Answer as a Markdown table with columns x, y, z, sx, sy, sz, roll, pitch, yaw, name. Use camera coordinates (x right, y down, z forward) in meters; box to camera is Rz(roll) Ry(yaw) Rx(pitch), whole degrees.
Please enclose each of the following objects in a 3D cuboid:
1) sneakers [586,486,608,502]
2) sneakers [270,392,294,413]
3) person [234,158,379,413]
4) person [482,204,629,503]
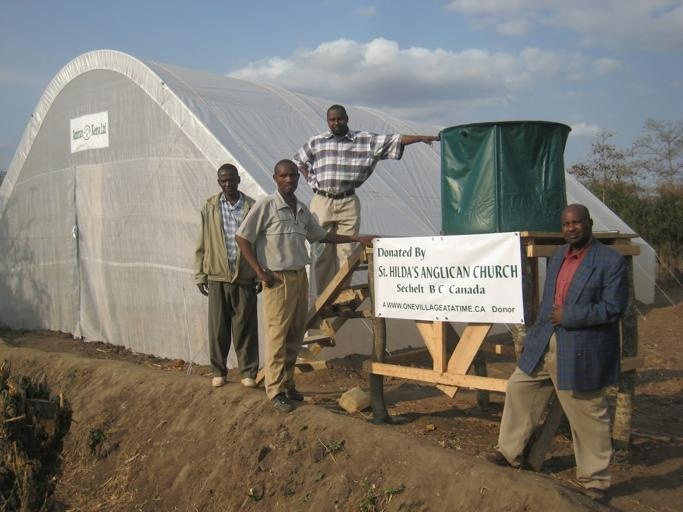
| x | y | z | sx | sy | sz | roll | pitch | yaw | name |
| --- | --- | --- | --- | --- | --- | --- | --- | --- | --- |
| 2.733 | 2.550 | 7.651 | 0.151 | 0.051 | 0.164 | -2 | 18 | -40 | sneakers |
| -0.722 | 1.783 | 8.723 | 0.275 | 0.231 | 0.208 | -5 | 10 | -17 | sneakers |
| -0.742 | 0.328 | 8.946 | 0.633 | 3.011 | 0.986 | 4 | 11 | 32 | person |
| 2.404 | 1.220 | 7.686 | 1.190 | 2.689 | 0.534 | 1 | 10 | 22 | person |
